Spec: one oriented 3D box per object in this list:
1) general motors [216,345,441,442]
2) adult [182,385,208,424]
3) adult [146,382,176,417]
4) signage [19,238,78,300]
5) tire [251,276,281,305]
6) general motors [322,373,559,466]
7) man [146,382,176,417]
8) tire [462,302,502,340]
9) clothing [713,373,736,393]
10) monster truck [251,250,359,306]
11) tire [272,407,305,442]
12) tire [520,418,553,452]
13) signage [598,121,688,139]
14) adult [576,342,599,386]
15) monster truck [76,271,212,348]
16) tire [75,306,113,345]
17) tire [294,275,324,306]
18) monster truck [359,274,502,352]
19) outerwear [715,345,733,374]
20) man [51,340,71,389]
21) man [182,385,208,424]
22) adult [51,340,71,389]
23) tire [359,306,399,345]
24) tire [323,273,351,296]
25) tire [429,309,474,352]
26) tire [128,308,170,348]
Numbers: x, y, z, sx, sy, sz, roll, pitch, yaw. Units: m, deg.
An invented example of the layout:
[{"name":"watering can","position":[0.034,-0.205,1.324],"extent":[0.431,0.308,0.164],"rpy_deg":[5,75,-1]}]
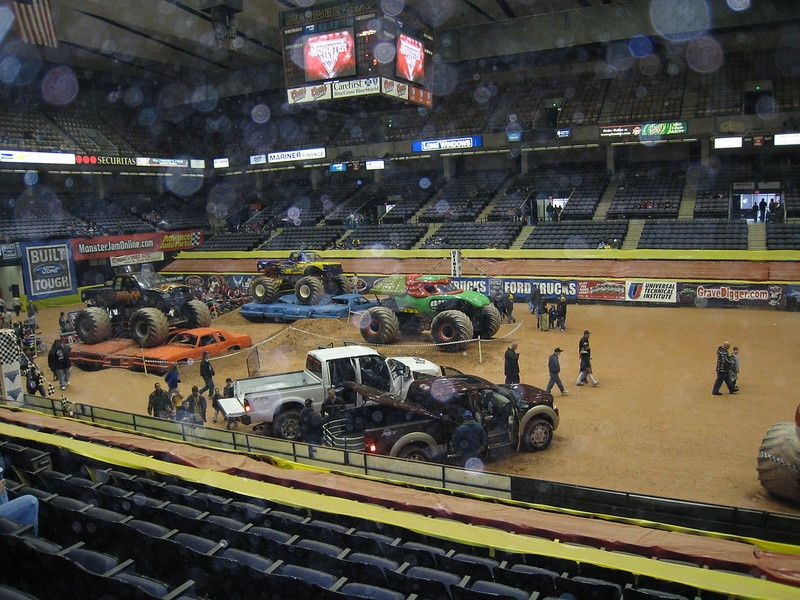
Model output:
[{"name":"general motors","position":[-2.067,2.023,15.549],"extent":[4.195,1.270,2.366],"rpy_deg":[-9,12,-21]},{"name":"adult","position":[-5.236,2.752,16.617],"extent":[0.448,0.992,0.729],"rpy_deg":[-3,5,-19]},{"name":"adult","position":[-6.084,2.600,16.453],"extent":[0.566,0.837,0.769],"rpy_deg":[-3,5,-22]},{"name":"signage","position":[-20.396,-1.755,37.190],"extent":[0.457,3.236,3.806],"rpy_deg":[7,12,40]},{"name":"tire","position":[-6.272,-0.387,30.148],"extent":[1.214,1.068,0.408],"rpy_deg":[18,12,22]},{"name":"general motors","position":[1.149,2.531,14.176],"extent":[4.349,1.434,2.124],"rpy_deg":[-9,19,-22]},{"name":"man","position":[-6.101,2.601,16.445],"extent":[0.612,0.837,0.763],"rpy_deg":[-2,5,-19]},{"name":"tire","position":[2.849,0.789,23.136],"extent":[1.453,1.265,0.522],"rpy_deg":[-4,7,30]},{"name":"clothing","position":[8.657,2.242,17.242],"extent":[0.623,0.684,0.266],"rpy_deg":[5,53,17]},{"name":"monster truck","position":[-5.144,-1.013,30.317],"extent":[3.977,1.801,2.768],"rpy_deg":[0,4,20]},{"name":"tire","position":[-2.592,2.890,14.951],"extent":[0.944,0.795,0.307],"rpy_deg":[-2,8,-3]},{"name":"tire","position":[3.019,3.018,14.444],"extent":[0.891,0.756,0.292],"rpy_deg":[-5,11,-21]},{"name":"signage","position":[13.133,-9.208,35.038],"extent":[4.293,0.824,0.775],"rpy_deg":[1,5,28]},{"name":"adult","position":[5.440,1.828,18.791],"extent":[0.582,1.250,1.329],"rpy_deg":[0,5,16]},{"name":"monster truck","position":[-9.774,0.295,23.555],"extent":[4.407,1.941,2.668],"rpy_deg":[3,8,22]},{"name":"tire","position":[-11.014,0.952,23.290],"extent":[1.371,1.189,0.573],"rpy_deg":[11,14,21]},{"name":"tire","position":[-4.094,-0.356,29.016],"extent":[1.261,1.115,0.399],"rpy_deg":[19,15,21]},{"name":"monster truck","position":[0.769,0.522,23.661],"extent":[4.764,2.187,2.777],"rpy_deg":[3,8,27]},{"name":"outerwear","position":[8.546,1.543,17.006],"extent":[0.459,0.816,0.296],"rpy_deg":[-5,6,-39]},{"name":"man","position":[-10.514,2.023,19.992],"extent":[0.566,1.496,0.685],"rpy_deg":[-2,5,-11]},{"name":"man","position":[-5.238,2.753,16.608],"extent":[0.439,0.992,0.671],"rpy_deg":[-3,5,-18]},{"name":"adult","position":[-10.509,2.025,19.966],"extent":[0.570,1.496,0.701],"rpy_deg":[-3,5,-23]},{"name":"tire","position":[-0.730,0.955,23.260],"extent":[1.204,1.090,0.541],"rpy_deg":[25,15,31]},{"name":"tire","position":[-3.041,-0.687,30.631],"extent":[1.360,1.155,0.459],"rpy_deg":[0,8,12]},{"name":"tire","position":[1.795,1.119,22.397],"extent":[1.696,1.449,0.566],"rpy_deg":[0,2,23]},{"name":"tire","position":[-8.598,0.985,22.208],"extent":[1.204,1.329,0.544],"rpy_deg":[1,5,27]}]
